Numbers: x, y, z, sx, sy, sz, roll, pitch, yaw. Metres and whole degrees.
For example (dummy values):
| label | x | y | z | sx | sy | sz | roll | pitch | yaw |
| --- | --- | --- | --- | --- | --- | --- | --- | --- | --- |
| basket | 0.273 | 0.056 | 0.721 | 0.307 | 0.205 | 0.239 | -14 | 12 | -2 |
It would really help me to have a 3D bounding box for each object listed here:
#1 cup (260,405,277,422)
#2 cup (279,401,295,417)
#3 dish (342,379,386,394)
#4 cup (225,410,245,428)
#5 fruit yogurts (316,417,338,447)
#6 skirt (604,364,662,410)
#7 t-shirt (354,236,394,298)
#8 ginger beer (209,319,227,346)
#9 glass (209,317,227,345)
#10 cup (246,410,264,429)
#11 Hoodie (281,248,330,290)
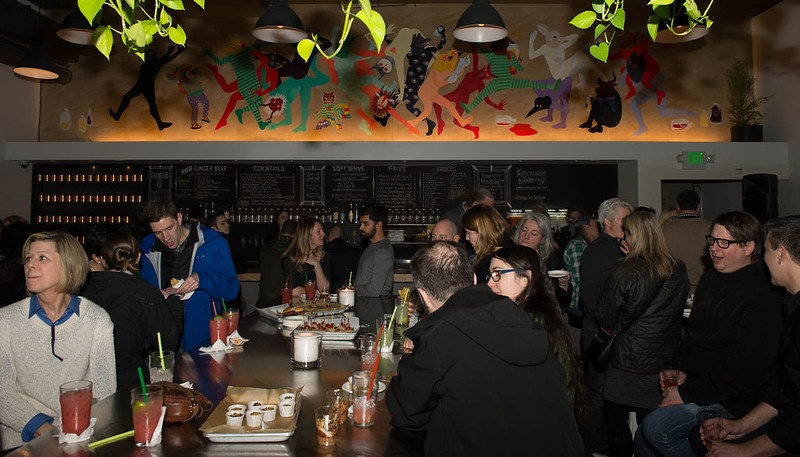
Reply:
| label | x | y | z | sx | sy | sz | roll | pitch | yaw |
| --- | --- | --- | --- | --- | --- | --- | --- | --- | --- |
| cup | -0.875 | 1.211 | 3.605 | 0.096 | 0.058 | 0.090 | 1 | -1 | 0 |
| cup | -0.755 | 1.197 | 3.633 | 0.108 | 0.065 | 0.101 | -1 | 3 | 0 |
| dish | -0.249 | 1.075 | 3.730 | 0.177 | 0.023 | 0.172 | -1 | -2 | 23 |
| cup | -1.079 | 1.234 | 3.559 | 0.100 | 0.066 | 0.095 | 1 | 3 | 0 |
| fruit yogurts | -0.474 | 1.293 | 3.522 | 0.124 | 0.204 | 0.040 | 0 | -1 | -8 |
| skirt | 2.032 | 1.409 | 4.876 | 0.613 | 0.387 | 0.336 | 0 | 0 | 5 |
| t-shirt | -0.298 | 0.413 | 6.131 | 0.500 | 0.612 | 0.810 | 3 | 12 | -15 |
| ginger beer | -1.466 | 0.834 | 4.406 | 0.135 | 0.185 | 0.128 | -16 | 44 | -34 |
| glass | -1.467 | 0.826 | 4.415 | 0.154 | 0.210 | 0.146 | -11 | 36 | -32 |
| cup | -0.950 | 1.240 | 3.563 | 0.115 | 0.069 | 0.108 | 0 | 0 | 0 |
| Hoodie | -1.007 | 0.525 | 6.086 | 0.515 | 0.549 | 0.351 | 1 | -14 | -19 |
